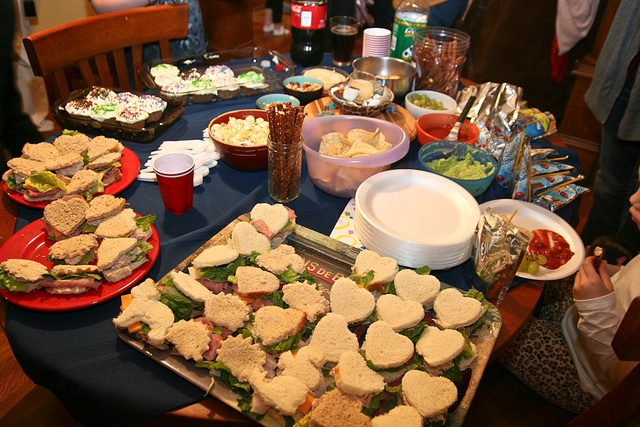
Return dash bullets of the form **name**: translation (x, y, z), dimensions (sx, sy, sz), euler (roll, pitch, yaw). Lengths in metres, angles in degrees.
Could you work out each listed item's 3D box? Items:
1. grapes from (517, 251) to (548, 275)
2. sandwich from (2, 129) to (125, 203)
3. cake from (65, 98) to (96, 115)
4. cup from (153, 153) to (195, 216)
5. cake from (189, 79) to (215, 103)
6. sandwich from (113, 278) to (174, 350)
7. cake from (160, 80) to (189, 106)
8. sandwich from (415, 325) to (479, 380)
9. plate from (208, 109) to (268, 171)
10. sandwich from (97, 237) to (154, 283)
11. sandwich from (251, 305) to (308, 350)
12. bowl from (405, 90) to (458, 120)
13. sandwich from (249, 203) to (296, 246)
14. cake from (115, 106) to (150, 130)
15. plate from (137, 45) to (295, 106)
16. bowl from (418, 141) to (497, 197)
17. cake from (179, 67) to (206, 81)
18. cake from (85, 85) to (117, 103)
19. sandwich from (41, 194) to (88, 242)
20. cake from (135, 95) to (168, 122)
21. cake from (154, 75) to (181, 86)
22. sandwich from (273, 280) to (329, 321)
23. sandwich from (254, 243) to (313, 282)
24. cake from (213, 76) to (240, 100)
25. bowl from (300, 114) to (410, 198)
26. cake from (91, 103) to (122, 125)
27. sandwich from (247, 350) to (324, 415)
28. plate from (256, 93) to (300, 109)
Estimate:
- **grapes**: translation (0.952, 0.220, 2.097), dimensions (0.107, 0.050, 0.106), euler (8, 39, 25)
- **sandwich**: translation (-1.258, -0.232, 2.306), dimensions (0.409, 0.149, 0.411), euler (5, 39, 17)
- **cake**: translation (-1.352, -0.589, 2.644), dimensions (0.132, 0.044, 0.113), euler (-6, 48, -1)
- **cup**: translation (-0.701, -0.137, 2.249), dimensions (0.192, 0.218, 0.193), euler (1, 34, -1)
- **cake**: translation (-0.728, -0.764, 2.904), dimensions (0.134, 0.121, 0.134), euler (4, 31, 7)
- **sandwich**: translation (-0.700, 0.410, 1.876), dimensions (0.245, 0.057, 0.333), euler (-5, 31, -36)
- **cake**: translation (-0.880, -0.753, 2.906), dimensions (0.169, 0.134, 0.167), euler (-18, 40, -24)
- **sandwich**: translation (0.497, 0.553, 1.859), dimensions (0.231, 0.111, 0.168), euler (14, 41, 14)
- **plate**: translation (-0.422, -0.342, 2.546), dimensions (0.345, 0.187, 0.343), euler (-3, 40, -4)
- **sandwich**: translation (-0.846, 0.191, 1.996), dimensions (0.182, 0.046, 0.184), euler (21, 62, -7)
- **sandwich**: translation (-0.161, 0.456, 1.878), dimensions (0.207, 0.081, 0.146), euler (4, 40, 2)
- **bowl**: translation (0.669, -0.677, 2.830), dimensions (0.228, 0.104, 0.230), euler (2, 26, -1)
- **sandwich**: translation (-0.240, 0.034, 2.155), dimensions (0.201, 0.057, 0.228), euler (13, 51, 20)
- **cake**: translation (-1.051, -0.539, 2.609), dimensions (0.140, 0.079, 0.138), euler (-1, 44, -6)
- **plate**: translation (-0.657, -0.905, 3.058), dimensions (0.895, 0.162, 0.510), euler (-11, 43, -17)
- **bowl**: translation (0.726, -0.263, 2.437), dimensions (0.337, 0.152, 0.336), euler (5, 35, -3)
- **cake**: translation (-0.842, -0.909, 3.046), dimensions (0.104, 0.033, 0.108), euler (2, 28, 23)
- **cake**: translation (-1.270, -0.696, 2.720), dimensions (0.106, 0.042, 0.133), euler (31, 37, 19)
- **sandwich**: translation (-1.162, -0.018, 2.192), dimensions (0.046, 0.216, 0.211), euler (-28, 85, -23)
- **cake**: translation (-0.957, -0.626, 2.697), dimensions (0.158, 0.098, 0.160), euler (7, 36, 3)
- **cake**: translation (-0.975, -0.856, 2.970), dimensions (0.103, 0.028, 0.104), euler (-32, 48, -33)
- **sandwich**: translation (-0.063, 0.350, 1.932), dimensions (0.126, 0.039, 0.179), euler (-37, 68, -23)
- **sandwich**: translation (-0.166, 0.208, 2.012), dimensions (0.163, 0.043, 0.160), euler (-25, 60, -35)
- **cake**: translation (-0.591, -0.826, 2.933), dimensions (0.151, 0.106, 0.149), euler (-7, 41, -9)
- **bowl**: translation (0.171, -0.324, 2.406), dimensions (0.521, 0.226, 0.466), euler (28, 48, 31)
- **cake**: translation (-1.198, -0.564, 2.617), dimensions (0.133, 0.040, 0.106), euler (-1, 48, -13)
- **sandwich**: translation (-0.109, 0.639, 1.761), dimensions (0.216, 0.051, 0.212), euler (-26, 55, -27)
- **plate**: translation (-0.259, -0.669, 2.755), dimensions (0.178, 0.058, 0.177), euler (-1, 34, -6)
